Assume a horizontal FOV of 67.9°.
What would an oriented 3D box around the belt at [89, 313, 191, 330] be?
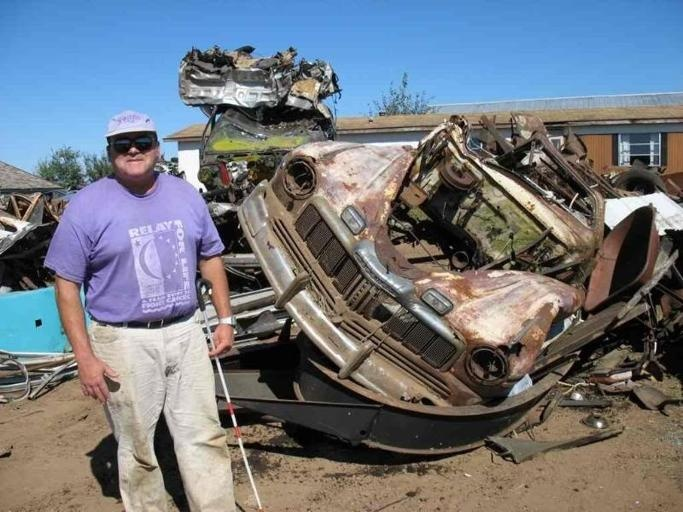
[{"bbox_3d":[-1.150,0.395,3.049,0.540,0.064,0.112,-3,11,-16],"label":"belt"}]
